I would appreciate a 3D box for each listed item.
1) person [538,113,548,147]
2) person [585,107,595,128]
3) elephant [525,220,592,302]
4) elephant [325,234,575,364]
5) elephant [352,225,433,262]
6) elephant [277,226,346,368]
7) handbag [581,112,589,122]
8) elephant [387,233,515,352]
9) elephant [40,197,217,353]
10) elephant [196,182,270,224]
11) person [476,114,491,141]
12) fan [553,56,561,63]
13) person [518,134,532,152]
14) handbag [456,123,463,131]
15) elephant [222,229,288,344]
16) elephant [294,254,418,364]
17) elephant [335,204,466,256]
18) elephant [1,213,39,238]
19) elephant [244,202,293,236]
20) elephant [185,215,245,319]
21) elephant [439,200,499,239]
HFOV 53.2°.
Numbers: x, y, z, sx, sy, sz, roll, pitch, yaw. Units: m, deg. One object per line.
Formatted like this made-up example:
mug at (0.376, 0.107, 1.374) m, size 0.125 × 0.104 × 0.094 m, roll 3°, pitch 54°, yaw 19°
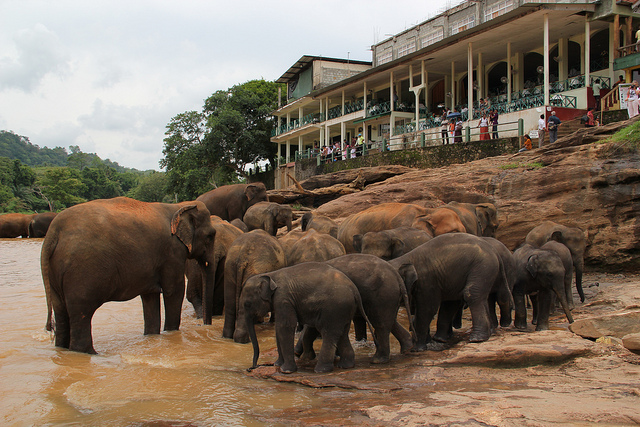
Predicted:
person at (7.664, -2.829, 21.802) m, size 0.308 × 1.182 × 0.886 m, roll -2°, pitch -4°, yaw 20°
person at (9.203, -3.223, 21.631) m, size 0.303 × 0.773 × 1.162 m, roll -3°, pitch -4°, yaw 23°
elephant at (5.764, 1.127, 15.611) m, size 0.878 × 1.663 × 2.923 m, roll 6°, pitch 4°, yaw -8°
elephant at (2.193, 1.487, 12.019) m, size 3.527 × 1.900 × 1.582 m, roll -12°, pitch -15°, yaw 37°
elephant at (1.557, 0.565, 12.882) m, size 1.397 × 0.758 × 0.702 m, roll -2°, pitch -2°, yaw -39°
elephant at (-0.184, 1.116, 13.008) m, size 1.204 × 1.973 × 2.517 m, roll -2°, pitch 3°, yaw -17°
handbag at (9.064, -3.261, 21.663) m, size 0.200 × 0.413 × 0.635 m, roll -3°, pitch -4°, yaw 21°
elephant at (1.928, 1.502, 11.984) m, size 3.032 × 1.944 × 1.103 m, roll -9°, pitch 0°, yaw 22°
elephant at (-3.556, 1.174, 12.687) m, size 1.780 × 3.022 × 3.928 m, roll 2°, pitch 3°, yaw 39°
elephant at (-2.872, -0.371, 21.468) m, size 2.682 × 1.539 × 1.072 m, roll -11°, pitch -1°, yaw 5°
person at (6.264, -3.283, 24.242) m, size 0.431 × 1.149 × 1.062 m, roll -2°, pitch -4°, yaw 17°
fan at (10.012, -6.476, 26.771) m, size 0.259 × 0.270 × 0.077 m, roll 3°, pitch -25°, yaw -2°
person at (6.916, -2.386, 21.419) m, size 0.382 × 0.709 × 1.280 m, roll -2°, pitch -4°, yaw 15°
handbag at (5.491, -3.370, 24.944) m, size 0.179 × 0.214 × 0.233 m, roll 0°, pitch -27°, yaw 21°
elephant at (-1.500, 1.413, 13.947) m, size 1.456 × 2.313 × 3.154 m, roll 5°, pitch -3°, yaw -2°
elephant at (0.369, 1.703, 11.487) m, size 2.585 × 1.720 × 1.229 m, roll -2°, pitch -5°, yaw 11°
elephant at (1.751, 0.571, 14.614) m, size 2.663 × 1.587 × 1.264 m, roll -5°, pitch 14°, yaw 19°
elephant at (-16.950, 0.685, 35.988) m, size 2.274 × 1.385 × 1.050 m, roll -2°, pitch 4°, yaw -23°
elephant at (-1.615, 0.345, 19.769) m, size 1.599 × 1.330 × 0.924 m, roll -2°, pitch -9°, yaw 14°
elephant at (-2.858, 1.287, 14.490) m, size 1.457 × 2.295 × 3.012 m, roll 5°, pitch -3°, yaw -17°
elephant at (3.779, 0.198, 15.592) m, size 0.836 × 1.314 × 1.724 m, roll 7°, pitch 7°, yaw 42°
